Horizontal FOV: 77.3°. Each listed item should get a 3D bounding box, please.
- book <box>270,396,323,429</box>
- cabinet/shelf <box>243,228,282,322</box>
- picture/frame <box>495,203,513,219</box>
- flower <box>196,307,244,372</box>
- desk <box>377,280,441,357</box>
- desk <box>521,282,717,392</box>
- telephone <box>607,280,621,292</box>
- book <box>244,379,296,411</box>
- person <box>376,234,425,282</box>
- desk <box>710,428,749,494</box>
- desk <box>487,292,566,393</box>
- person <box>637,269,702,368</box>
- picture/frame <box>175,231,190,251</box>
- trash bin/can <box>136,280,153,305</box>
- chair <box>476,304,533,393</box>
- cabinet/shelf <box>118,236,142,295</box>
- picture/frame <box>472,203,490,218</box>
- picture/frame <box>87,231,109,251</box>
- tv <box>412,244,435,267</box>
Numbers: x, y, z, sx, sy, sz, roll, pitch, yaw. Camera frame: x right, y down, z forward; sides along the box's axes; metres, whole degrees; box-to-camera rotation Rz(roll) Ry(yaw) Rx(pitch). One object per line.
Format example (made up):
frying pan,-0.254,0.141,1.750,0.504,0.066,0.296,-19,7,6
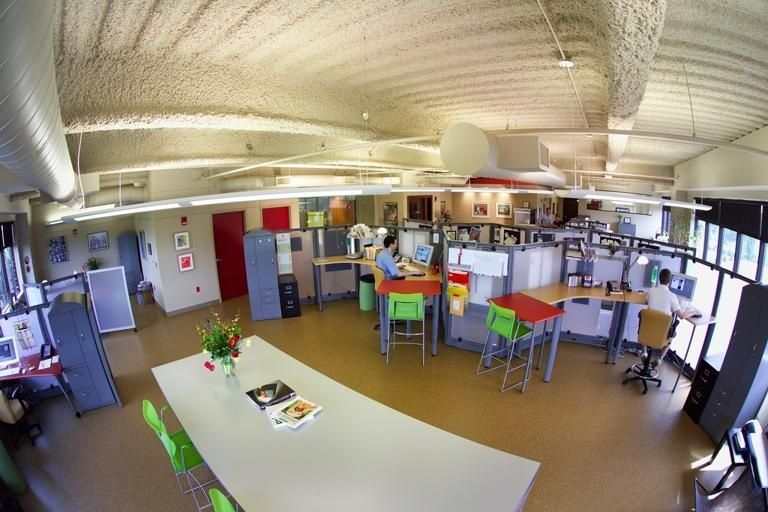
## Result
book,-1.036,1.834,5.627,0.333,0.084,0.342,13,20,42
cabinet/shelf,-2.503,0.407,9.912,0.633,1.845,0.253,-5,11,-17
picture/frame,4.657,-1.786,18.558,0.583,0.586,0.043,7,9,37
flower,-2.094,1.203,6.315,0.523,0.721,0.573,-12,16,-16
desk,0.476,1.015,8.438,1.220,1.207,1.232,0,4,11
desk,3.307,0.803,7.775,2.524,1.266,1.481,4,9,28
telephone,3.886,0.509,8.112,0.158,0.210,0.312,1,3,44
book,-1.377,1.682,5.851,0.336,0.072,0.351,-8,16,-21
person,0.243,0.185,8.977,0.746,1.121,0.858,-6,14,-36
desk,4.259,2.536,5.899,0.267,0.859,0.460,4,34,14
desk,2.234,1.382,7.652,1.055,1.400,0.950,-13,21,-38
person,4.412,1.023,7.399,0.775,1.712,0.833,6,13,33
picture/frame,-4.485,-0.342,10.623,0.062,0.455,0.385,4,8,37
trash bin/can,-5.730,0.851,11.519,0.325,0.569,0.669,-7,12,-29
chair,1.948,1.328,7.545,0.752,1.275,0.626,-8,18,-24
cabinet/shelf,-6.606,0.171,12.522,0.447,1.577,0.660,-9,13,-34
picture/frame,3.874,-1.843,19.086,0.591,0.600,0.060,4,8,36
picture/frame,-7.338,-0.399,12.271,0.030,0.403,0.389,6,30,33
tv,0.796,-0.010,9.401,0.388,0.393,0.149,10,-5,44
